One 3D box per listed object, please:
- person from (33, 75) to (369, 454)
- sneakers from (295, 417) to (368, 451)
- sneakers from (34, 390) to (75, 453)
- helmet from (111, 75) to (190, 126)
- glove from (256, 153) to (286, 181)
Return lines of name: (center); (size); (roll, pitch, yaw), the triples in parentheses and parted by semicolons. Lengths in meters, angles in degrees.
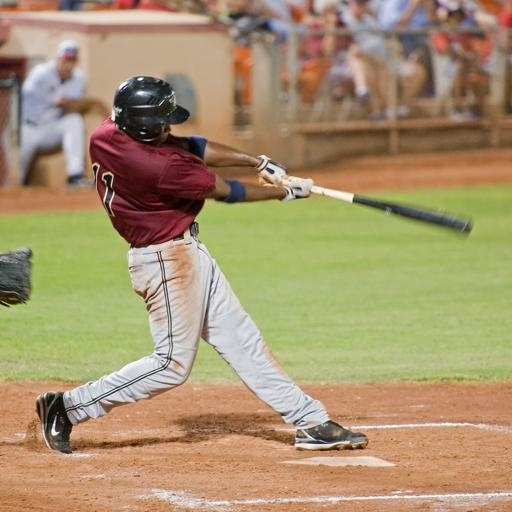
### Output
person: (-0.330, 0.053, 5.344); (1.283, 1.876, 0.502); (-2, 6, -15)
sneakers: (0.366, 0.920, 5.453); (0.450, 0.139, 0.135); (-1, -4, 1)
sneakers: (-1.026, 0.836, 5.462); (0.214, 0.317, 0.134); (-15, 4, 16)
helmet: (-0.529, -0.746, 5.143); (0.436, 0.141, 0.246); (-1, 11, -3)
glove: (0.033, -0.476, 5.761); (0.176, 0.123, 0.070); (34, -25, -15)
